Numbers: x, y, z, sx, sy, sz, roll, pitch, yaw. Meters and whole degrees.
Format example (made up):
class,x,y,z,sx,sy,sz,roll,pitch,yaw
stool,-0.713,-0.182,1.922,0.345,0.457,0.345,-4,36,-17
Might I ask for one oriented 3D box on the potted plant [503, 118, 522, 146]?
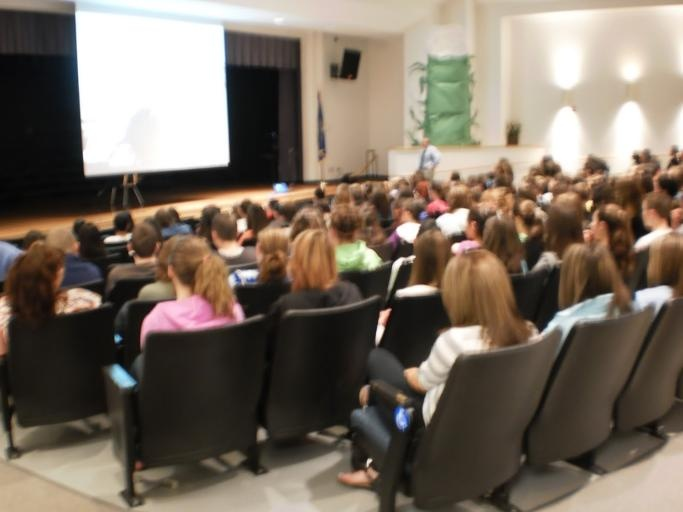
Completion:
class,x,y,z,sx,sy,sz,roll,pitch,yaw
potted plant,4.480,-3.205,13.537,0.538,0.784,0.551,0,14,8
